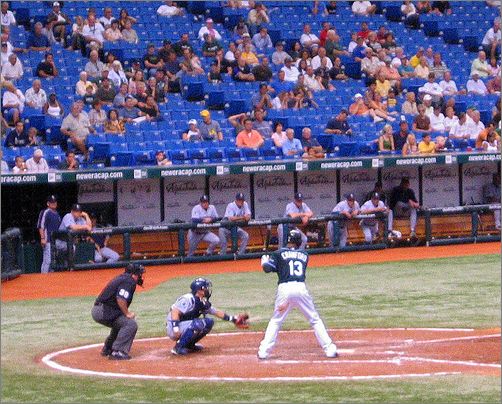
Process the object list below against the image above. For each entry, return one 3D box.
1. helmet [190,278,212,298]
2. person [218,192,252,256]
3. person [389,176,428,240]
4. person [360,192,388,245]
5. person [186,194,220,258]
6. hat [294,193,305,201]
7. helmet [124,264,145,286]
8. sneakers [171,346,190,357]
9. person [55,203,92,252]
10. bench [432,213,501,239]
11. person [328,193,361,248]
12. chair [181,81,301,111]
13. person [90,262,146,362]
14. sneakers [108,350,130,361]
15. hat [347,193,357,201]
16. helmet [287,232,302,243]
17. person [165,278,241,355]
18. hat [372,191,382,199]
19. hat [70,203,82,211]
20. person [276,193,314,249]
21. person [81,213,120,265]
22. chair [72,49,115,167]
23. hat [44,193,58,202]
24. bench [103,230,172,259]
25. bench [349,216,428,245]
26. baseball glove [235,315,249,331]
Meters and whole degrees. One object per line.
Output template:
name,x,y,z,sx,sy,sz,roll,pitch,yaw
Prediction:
helmet,-0.945,1.594,22.301,0.381,0.385,0.334,-7,13,-18
person,-0.429,0.508,29.281,0.781,1.556,0.580,-1,12,0
person,4.086,0.145,30.804,0.900,2.014,1.230,8,-28,-9
person,3.119,0.388,30.057,0.715,1.354,0.577,-3,13,-8
person,-1.207,0.546,29.169,0.821,1.557,0.664,-3,13,-10
hat,1.201,-0.154,29.051,0.265,0.195,0.159,-10,16,-36
helmet,-2.195,1.312,22.080,0.398,0.417,0.324,-1,5,-13
sneakers,-1.347,2.743,22.034,0.262,0.127,0.139,-3,2,17
person,-4.307,0.570,28.149,0.901,1.120,0.642,-3,13,-9
bench,5.613,0.579,30.925,1.756,0.605,0.226,-3,13,-9
person,2.326,0.647,29.881,0.637,1.744,0.920,-2,6,-41
chair,-0.670,-2.891,32.078,2.458,0.812,0.742,2,13,14
person,-2.492,2.009,21.914,0.974,1.674,0.603,-3,13,-8
sneakers,-2.474,2.820,21.898,0.361,0.173,0.151,1,1,2
hat,2.542,-0.168,29.652,0.212,0.151,0.303,11,-12,22
helmet,0.787,0.586,21.825,0.227,0.171,0.219,-24,-37,-5
person,-0.813,2.138,22.374,1.656,1.369,1.025,3,-5,-19
hat,3.199,-0.197,30.021,0.177,0.242,0.242,14,-35,5
hat,-4.242,0.091,28.175,0.237,0.198,0.423,-3,13,-9
person,1.154,0.539,29.429,0.763,1.523,0.732,8,17,36
person,-3.652,0.918,28.617,0.644,1.367,0.782,-12,16,-41
chair,-4.112,-2.701,31.014,1.235,2.535,4.253,-2,13,-6
hat,-4.852,-0.156,28.032,0.257,0.194,0.425,8,-5,-7
bench,-2.459,1.020,28.991,1.859,0.594,0.733,-1,7,-12
bench,3.683,0.685,30.653,2.087,0.654,0.763,0,-26,-8
baseball glove,-0.149,2.207,22.192,0.191,0.311,0.342,6,14,30
